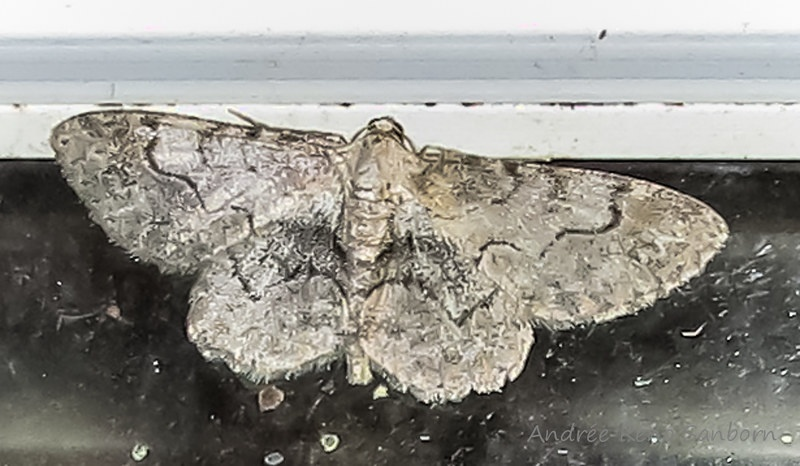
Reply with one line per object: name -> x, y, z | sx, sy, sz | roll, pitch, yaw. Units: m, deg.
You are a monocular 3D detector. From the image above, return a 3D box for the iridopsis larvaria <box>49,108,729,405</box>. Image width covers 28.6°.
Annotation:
iridopsis larvaria -> -0.091, 0.101, 6.465 | 2.611, 1.160, 0.298 | 1, 18, 2
